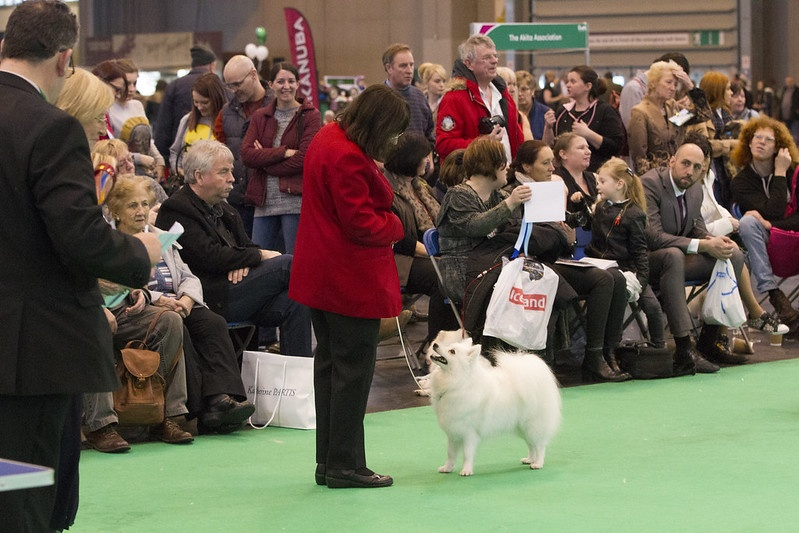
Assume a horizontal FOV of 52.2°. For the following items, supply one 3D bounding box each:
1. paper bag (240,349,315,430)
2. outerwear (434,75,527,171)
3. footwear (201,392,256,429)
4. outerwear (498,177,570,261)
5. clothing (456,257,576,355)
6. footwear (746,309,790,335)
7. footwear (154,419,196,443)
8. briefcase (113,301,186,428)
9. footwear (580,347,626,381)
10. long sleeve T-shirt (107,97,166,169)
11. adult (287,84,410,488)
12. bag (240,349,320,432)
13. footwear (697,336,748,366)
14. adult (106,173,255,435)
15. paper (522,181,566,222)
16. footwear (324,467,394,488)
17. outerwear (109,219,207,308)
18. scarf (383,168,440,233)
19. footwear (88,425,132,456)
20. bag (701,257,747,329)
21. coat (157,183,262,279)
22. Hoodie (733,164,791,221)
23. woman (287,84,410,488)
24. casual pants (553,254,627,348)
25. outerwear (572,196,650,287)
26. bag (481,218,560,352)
[{"bbox_3d":[-0.861,0.885,5.708,0.569,0.497,0.322,2,1,25],"label":"paper bag"},{"bbox_3d":[0.695,-1.352,7.492,0.920,0.733,0.420,-9,12,-44],"label":"outerwear"},{"bbox_3d":[-1.172,1.019,5.574,0.385,0.196,0.196,-19,-35,18],"label":"footwear"},{"bbox_3d":[1.021,-0.200,6.462,0.198,0.649,0.441,-31,-20,26],"label":"outerwear"},{"bbox_3d":[0.840,0.275,6.163,0.641,0.693,0.370,-12,1,0],"label":"clothing"},{"bbox_3d":[3.555,0.555,7.868,0.391,0.171,0.191,8,21,24],"label":"footwear"},{"bbox_3d":[-1.519,1.108,5.495,0.328,0.148,0.124,-3,-3,38],"label":"footwear"},{"bbox_3d":[-1.715,0.562,5.669,0.556,0.796,0.435,-4,22,-2],"label":"briefcase"},{"bbox_3d":[1.693,0.847,6.801,0.455,0.326,0.168,-2,-1,19],"label":"footwear"},{"bbox_3d":[-2.621,-1.289,8.146,0.409,0.778,0.531,4,19,41],"label":"long sleeve T-shirt"},{"bbox_3d":[-0.287,0.112,4.781,0.697,2.286,0.730,-3,5,-45],"label":"adult"},{"bbox_3d":[-0.872,0.898,5.829,0.568,0.502,0.301,3,-9,16],"label":"bag"},{"bbox_3d":[2.958,0.740,7.446,0.163,0.346,0.482,3,0,-45],"label":"footwear"},{"bbox_3d":[-1.609,0.250,5.759,1.213,1.808,0.632,-6,0,44],"label":"adult"},{"bbox_3d":[1.059,-0.464,5.913,0.297,0.293,0.070,1,4,-12],"label":"paper"},{"bbox_3d":[-0.249,1.209,4.708,0.364,0.154,0.132,-1,-3,-8],"label":"footwear"},{"bbox_3d":[-1.629,-0.105,5.905,0.376,0.576,0.589,8,39,-7],"label":"outerwear"},{"bbox_3d":[0.084,-0.523,6.620,0.286,0.505,0.440,-18,26,16],"label":"scarf"},{"bbox_3d":[-1.882,1.124,5.306,0.356,0.172,0.128,-3,-1,36],"label":"footwear"},{"bbox_3d":[2.919,0.249,7.292,0.342,0.713,0.310,9,-22,10],"label":"bag"},{"bbox_3d":[-1.369,-0.239,6.109,0.737,0.742,0.578,-1,6,9],"label":"coat"},{"bbox_3d":[3.678,-0.744,8.202,0.392,0.507,0.358,-13,-13,-14],"label":"Hoodie"},{"bbox_3d":[-0.289,0.115,4.754,0.655,2.252,0.756,-2,6,-31],"label":"woman"},{"bbox_3d":[1.636,0.286,6.730,0.654,0.866,0.723,-1,2,24],"label":"casual pants"},{"bbox_3d":[1.902,-0.243,7.115,0.778,0.664,0.351,20,33,41],"label":"outerwear"},{"bbox_3d":[0.972,0.143,6.171,0.495,1.060,0.326,14,-19,-15],"label":"bag"}]
